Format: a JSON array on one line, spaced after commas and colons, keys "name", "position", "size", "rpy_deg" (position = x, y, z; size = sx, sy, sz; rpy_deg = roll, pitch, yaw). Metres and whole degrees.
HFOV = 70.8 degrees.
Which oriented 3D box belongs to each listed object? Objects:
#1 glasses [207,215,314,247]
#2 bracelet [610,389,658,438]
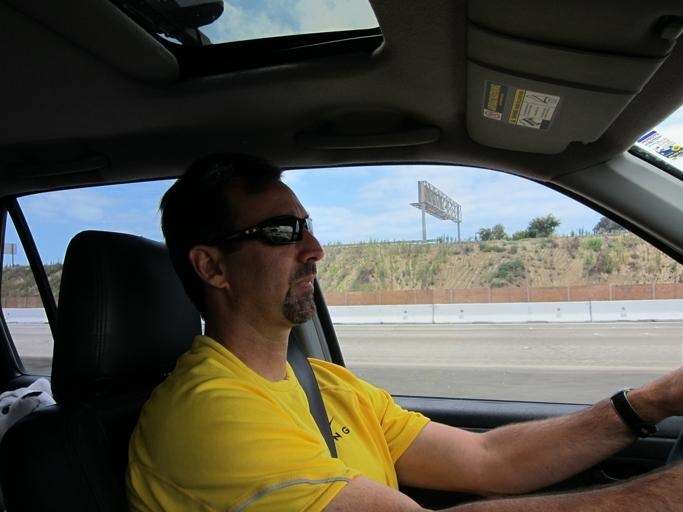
[{"name": "glasses", "position": [-0.282, -0.091, 1.870], "size": [0.205, 0.059, 0.179], "rpy_deg": [-10, -7, 4]}, {"name": "bracelet", "position": [1.048, 0.560, 1.710], "size": [0.083, 0.129, 0.135], "rpy_deg": [-43, 1, 15]}]
